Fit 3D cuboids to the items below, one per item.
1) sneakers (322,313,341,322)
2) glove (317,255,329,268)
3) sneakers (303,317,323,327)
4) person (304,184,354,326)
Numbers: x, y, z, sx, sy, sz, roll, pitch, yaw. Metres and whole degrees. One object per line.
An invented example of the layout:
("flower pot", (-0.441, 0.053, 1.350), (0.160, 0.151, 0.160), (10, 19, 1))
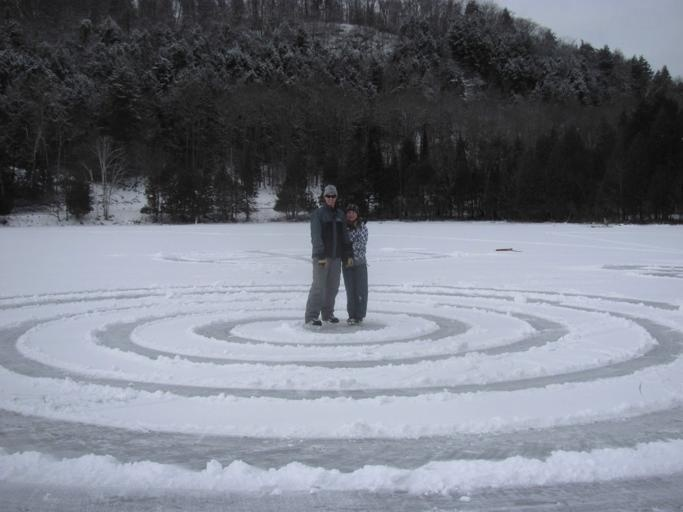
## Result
("sneakers", (-0.177, 1.124, 13.398), (0.352, 0.172, 0.138), (0, 3, 5))
("glove", (-0.310, 0.093, 13.025), (0.164, 0.140, 0.177), (1, 6, 5))
("sneakers", (-0.477, 1.158, 12.905), (0.340, 0.121, 0.203), (11, 14, 43))
("person", (-0.305, -0.004, 13.174), (0.748, 2.476, 1.040), (7, 11, 33))
